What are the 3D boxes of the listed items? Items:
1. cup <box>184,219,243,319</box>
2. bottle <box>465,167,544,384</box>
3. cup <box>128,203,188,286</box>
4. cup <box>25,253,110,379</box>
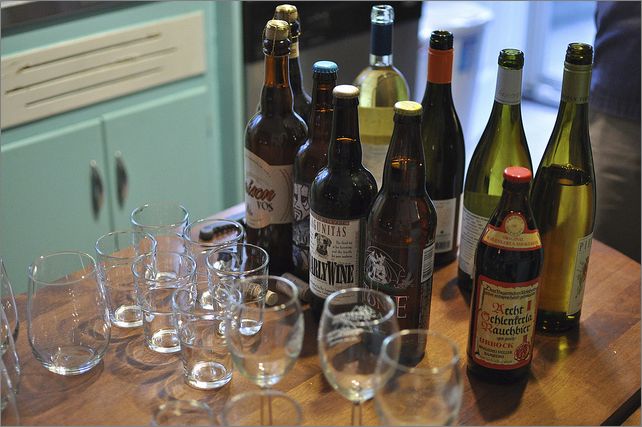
[{"bbox_3d":[-0.196,0.104,1.059,0.103,0.148,0.097,1,32,0],"label":"cup"},{"bbox_3d":[0.305,0.125,0.964,0.103,0.324,0.087,5,26,17],"label":"bottle"},{"bbox_3d":[-0.311,0.062,1.112,0.096,0.147,0.093,1,30,-1],"label":"cup"},{"bbox_3d":[-0.442,0.170,1.008,0.129,0.186,0.119,-2,24,1],"label":"cup"}]
